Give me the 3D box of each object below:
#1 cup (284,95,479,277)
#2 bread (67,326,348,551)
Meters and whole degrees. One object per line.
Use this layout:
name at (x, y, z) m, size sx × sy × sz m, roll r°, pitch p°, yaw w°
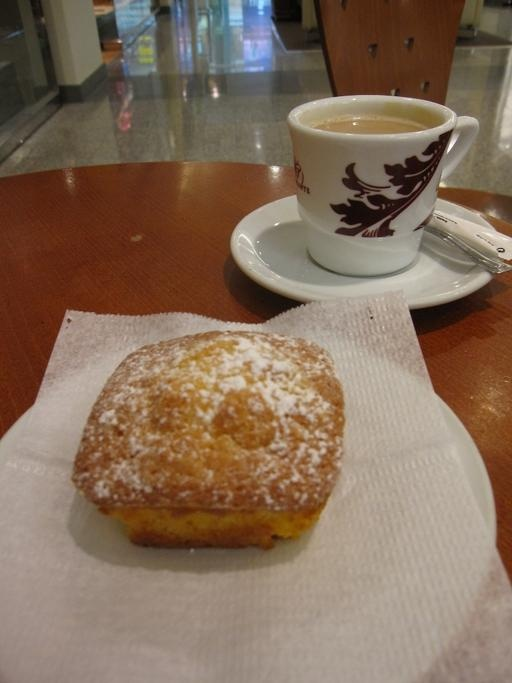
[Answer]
cup at (0.139, -0.199, 0.614) m, size 0.195 × 0.162 × 0.230 m, roll 15°, pitch 40°, yaw 18°
bread at (-0.026, 0.074, 0.376) m, size 0.142 × 0.081 × 0.156 m, roll -2°, pitch 43°, yaw 4°
